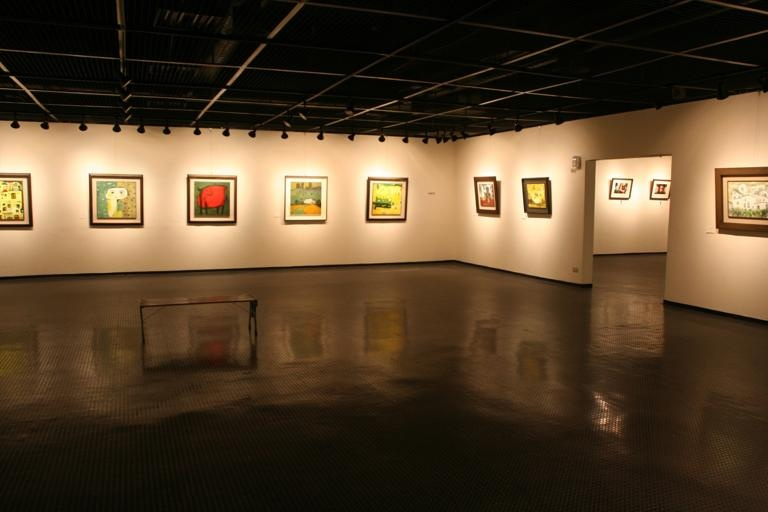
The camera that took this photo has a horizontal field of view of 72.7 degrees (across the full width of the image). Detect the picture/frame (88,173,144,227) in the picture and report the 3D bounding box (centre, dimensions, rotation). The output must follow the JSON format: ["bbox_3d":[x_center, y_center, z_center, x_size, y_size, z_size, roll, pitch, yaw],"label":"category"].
[{"bbox_3d":[-7.528,-1.610,14.552,1.556,1.627,0.125,-1,7,-24],"label":"picture/frame"}]

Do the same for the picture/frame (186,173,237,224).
[{"bbox_3d":[-5.107,-1.733,15.288,1.517,1.461,0.113,-2,8,-20],"label":"picture/frame"}]

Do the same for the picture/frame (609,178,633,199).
[{"bbox_3d":[8.685,-2.516,19.269,0.821,0.660,0.076,-2,3,-25],"label":"picture/frame"}]

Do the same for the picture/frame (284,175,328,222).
[{"bbox_3d":[-2.478,-1.830,16.128,1.478,1.423,0.111,-1,8,-20],"label":"picture/frame"}]

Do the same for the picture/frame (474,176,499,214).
[{"bbox_3d":[3.221,-1.932,16.321,0.111,1.215,1.236,-3,0,-27],"label":"picture/frame"}]

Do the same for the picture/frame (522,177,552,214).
[{"bbox_3d":[4.280,-1.702,14.567,0.135,1.063,1.008,-7,10,-31],"label":"picture/frame"}]

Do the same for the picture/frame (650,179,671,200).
[{"bbox_3d":[10.495,-2.515,19.856,0.857,0.800,0.292,-5,12,-28],"label":"picture/frame"}]

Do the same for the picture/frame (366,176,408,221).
[{"bbox_3d":[0.044,-1.917,16.976,1.521,1.463,0.106,-1,12,-17],"label":"picture/frame"}]
